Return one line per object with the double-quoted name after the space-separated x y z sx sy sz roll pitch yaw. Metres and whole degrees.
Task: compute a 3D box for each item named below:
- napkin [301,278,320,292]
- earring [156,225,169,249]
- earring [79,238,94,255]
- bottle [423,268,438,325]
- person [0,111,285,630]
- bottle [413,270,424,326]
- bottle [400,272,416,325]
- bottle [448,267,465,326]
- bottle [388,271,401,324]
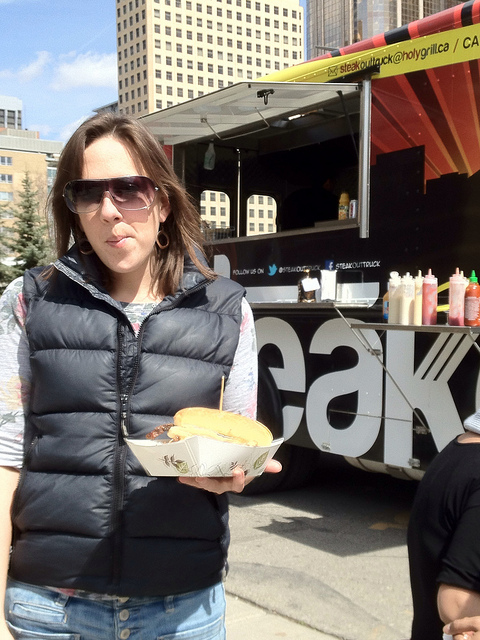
0.448 -0.236 4.004 0.083 0.088 0.021 -7 -7 0 "napkin"
-0.174 -0.189 1.414 0.030 0.053 0.041 0 0 -35 "earring"
-0.340 -0.161 1.371 0.032 0.037 0.008 -3 -7 18 "earring"
1.024 -0.123 3.354 0.063 0.295 0.136 0 0 28 "bottle"
-0.220 0.084 1.267 0.505 0.993 0.410 0 0 2 "person"
0.973 -0.122 3.391 0.055 0.293 0.198 0 0 17 "bottle"
0.908 -0.111 3.369 0.074 0.274 0.096 0 0 1 "bottle"
1.135 -0.121 3.263 0.078 0.297 0.194 0 0 19 "bottle"
0.863 -0.125 3.474 0.063 0.289 0.174 0 0 13 "bottle"
